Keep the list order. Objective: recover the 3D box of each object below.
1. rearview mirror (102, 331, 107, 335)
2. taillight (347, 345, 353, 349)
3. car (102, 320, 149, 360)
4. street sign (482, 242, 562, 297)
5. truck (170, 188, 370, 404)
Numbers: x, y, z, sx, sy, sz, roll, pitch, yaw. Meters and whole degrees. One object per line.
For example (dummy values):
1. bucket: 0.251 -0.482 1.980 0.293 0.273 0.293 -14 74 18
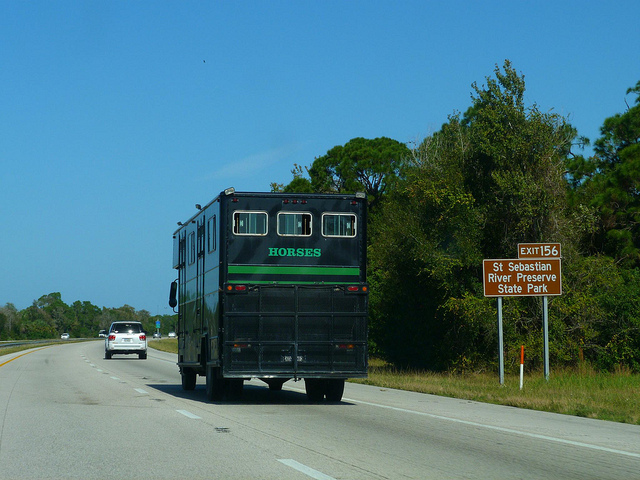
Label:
1. rearview mirror: -13.393 5.774 49.308 0.318 0.245 0.385 2 -1 2
2. taillight: 0.746 2.734 20.377 0.133 0.067 0.016 3 -9 -9
3. car: -11.740 6.079 48.288 1.577 1.659 3.114 1 -2 -9
4. street sign: 6.520 0.980 25.648 2.323 1.752 0.418 0 -9 6
5. truck: -2.023 2.139 24.118 4.056 5.837 8.466 3 -9 -23
